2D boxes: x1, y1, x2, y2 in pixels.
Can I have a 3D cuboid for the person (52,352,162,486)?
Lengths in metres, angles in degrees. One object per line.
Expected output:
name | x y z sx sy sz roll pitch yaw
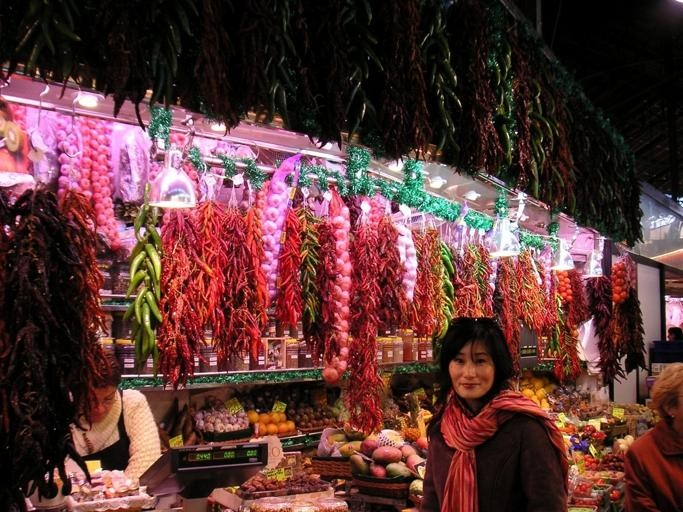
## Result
person | -1.805 1.152 4.274 0.627 0.569 1.250 0 -41 -13

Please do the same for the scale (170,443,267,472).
scale | -0.639 1.078 3.089 0.504 0.137 0.033 1 -4 -22
